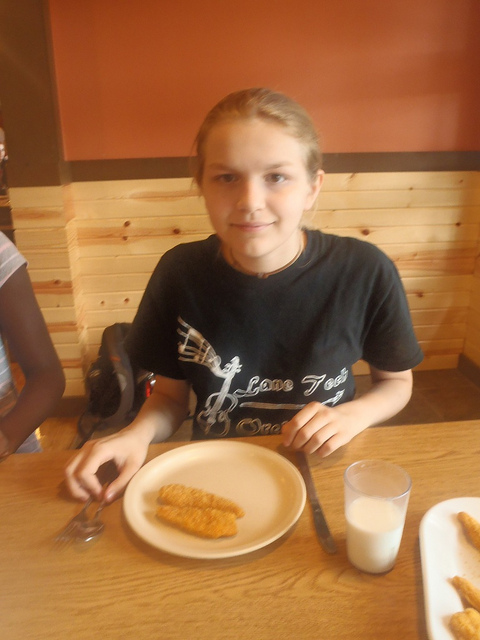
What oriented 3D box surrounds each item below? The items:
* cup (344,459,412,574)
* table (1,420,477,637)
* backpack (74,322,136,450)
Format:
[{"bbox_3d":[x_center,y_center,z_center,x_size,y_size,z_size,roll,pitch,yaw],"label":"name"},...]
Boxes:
[{"bbox_3d":[0.180,0.267,0.749,0.087,0.113,0.112,7,23,17],"label":"cup"},{"bbox_3d":[0.010,0.246,0.810,0.846,0.115,0.441,-1,21,-2],"label":"table"},{"bbox_3d":[-0.552,0.274,2.212,0.232,0.480,0.377,13,5,-21],"label":"backpack"}]
